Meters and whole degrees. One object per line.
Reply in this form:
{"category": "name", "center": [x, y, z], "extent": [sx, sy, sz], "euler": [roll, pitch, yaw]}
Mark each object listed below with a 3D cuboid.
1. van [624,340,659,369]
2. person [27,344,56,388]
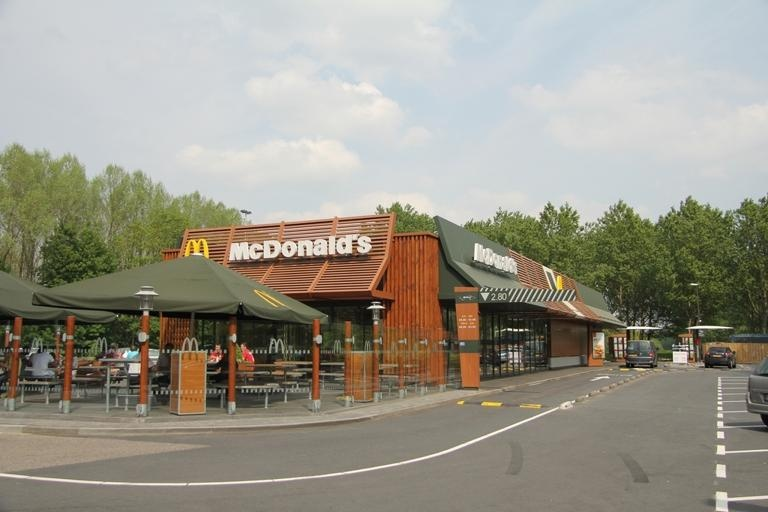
{"category": "van", "center": [20.356, 7.690, 55.611], "extent": [1.761, 1.501, 3.323], "euler": [-2, -3, 29]}
{"category": "person", "center": [-12.681, 4.088, 26.111], "extent": [0.980, 1.278, 1.665], "euler": [5, -12, -26]}
